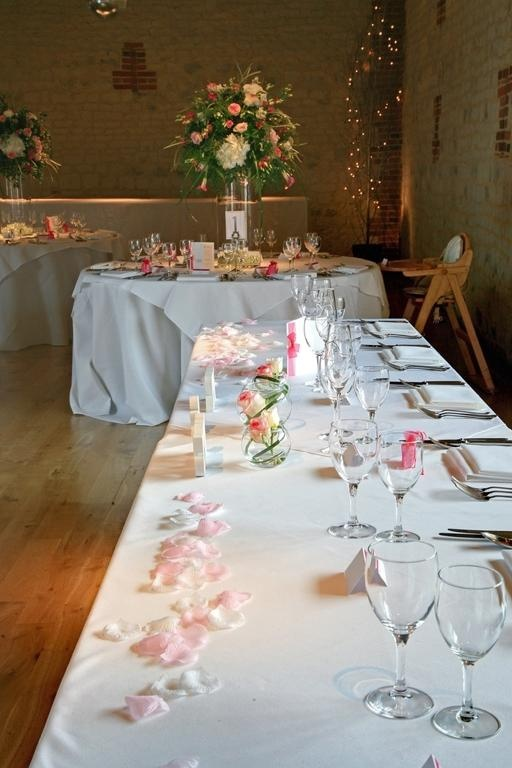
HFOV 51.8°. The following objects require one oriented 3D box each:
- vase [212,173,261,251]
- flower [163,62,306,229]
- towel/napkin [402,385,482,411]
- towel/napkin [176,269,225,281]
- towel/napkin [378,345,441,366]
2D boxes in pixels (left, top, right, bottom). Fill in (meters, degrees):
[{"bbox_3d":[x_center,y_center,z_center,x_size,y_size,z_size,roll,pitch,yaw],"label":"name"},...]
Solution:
[{"bbox_3d":[-0.122,-1.240,4.040,0.383,0.575,0.398,4,3,38],"label":"vase"},{"bbox_3d":[-0.134,-1.674,3.733,0.810,1.067,0.475,-4,8,0],"label":"flower"},{"bbox_3d":[0.528,0.037,1.454,0.103,0.022,0.111,0,17,0],"label":"towel/napkin"},{"bbox_3d":[-0.386,-0.727,3.548,0.284,0.100,0.342,-5,7,-4],"label":"towel/napkin"},{"bbox_3d":[0.574,-0.102,1.881,0.115,0.030,0.124,2,17,-2],"label":"towel/napkin"}]
